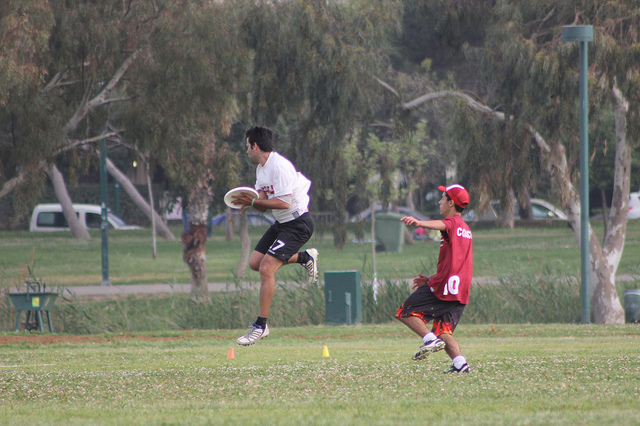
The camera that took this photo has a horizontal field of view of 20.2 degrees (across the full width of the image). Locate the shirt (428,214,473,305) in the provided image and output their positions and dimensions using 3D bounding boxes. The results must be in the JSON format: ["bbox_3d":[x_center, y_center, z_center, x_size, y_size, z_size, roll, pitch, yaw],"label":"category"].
[{"bbox_3d":[3.035,0.886,40.194,0.886,1.991,0.689,-8,18,-38],"label":"shirt"}]
